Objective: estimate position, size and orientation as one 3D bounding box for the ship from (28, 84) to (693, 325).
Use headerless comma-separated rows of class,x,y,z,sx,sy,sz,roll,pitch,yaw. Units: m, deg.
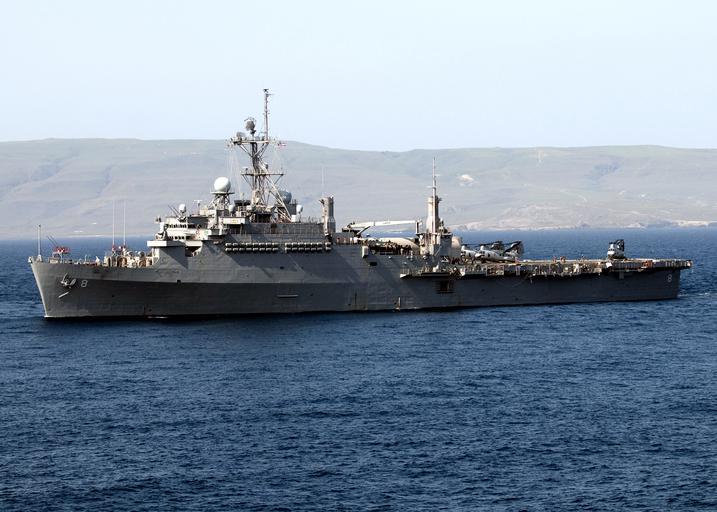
ship,0.939,-2.589,147.324,68.665,15.678,15.042,0,0,-32
